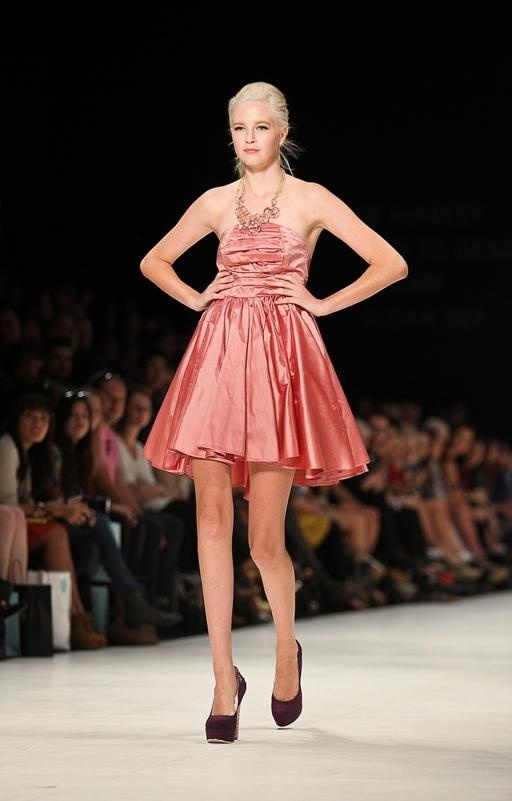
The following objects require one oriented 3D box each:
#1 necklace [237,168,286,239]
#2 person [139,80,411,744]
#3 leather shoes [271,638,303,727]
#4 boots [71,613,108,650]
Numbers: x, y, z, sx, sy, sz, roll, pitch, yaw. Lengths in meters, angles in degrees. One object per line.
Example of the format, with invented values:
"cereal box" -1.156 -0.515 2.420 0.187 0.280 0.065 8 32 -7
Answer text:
"necklace" 0.003 -0.394 1.522 0.085 0.127 0.035 -2 -35 18
"person" 0.035 0.003 1.547 0.479 1.292 0.408 1 -4 -25
"leather shoes" 0.067 0.527 1.465 0.056 0.170 0.030 3 -5 -4
"boots" -0.553 0.831 2.735 0.187 0.114 0.059 2 -4 -15
